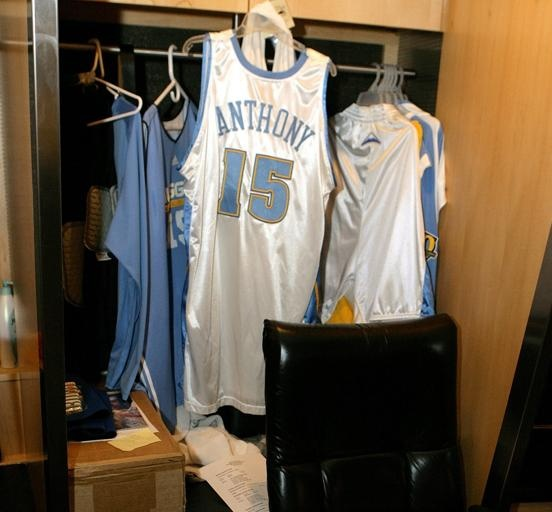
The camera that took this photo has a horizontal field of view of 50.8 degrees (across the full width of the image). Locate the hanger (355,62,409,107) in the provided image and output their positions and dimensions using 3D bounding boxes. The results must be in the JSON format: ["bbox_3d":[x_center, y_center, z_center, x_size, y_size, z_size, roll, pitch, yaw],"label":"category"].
[{"bbox_3d":[0.366,-0.583,1.970,0.172,0.206,0.085,-1,30,-5],"label":"hanger"}]

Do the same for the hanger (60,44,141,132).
[{"bbox_3d":[-0.551,-0.532,1.832,0.204,0.205,0.306,-9,16,-28],"label":"hanger"}]

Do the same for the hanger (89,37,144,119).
[{"bbox_3d":[-0.518,-0.512,1.878,0.163,0.286,0.361,-2,9,-28],"label":"hanger"}]
